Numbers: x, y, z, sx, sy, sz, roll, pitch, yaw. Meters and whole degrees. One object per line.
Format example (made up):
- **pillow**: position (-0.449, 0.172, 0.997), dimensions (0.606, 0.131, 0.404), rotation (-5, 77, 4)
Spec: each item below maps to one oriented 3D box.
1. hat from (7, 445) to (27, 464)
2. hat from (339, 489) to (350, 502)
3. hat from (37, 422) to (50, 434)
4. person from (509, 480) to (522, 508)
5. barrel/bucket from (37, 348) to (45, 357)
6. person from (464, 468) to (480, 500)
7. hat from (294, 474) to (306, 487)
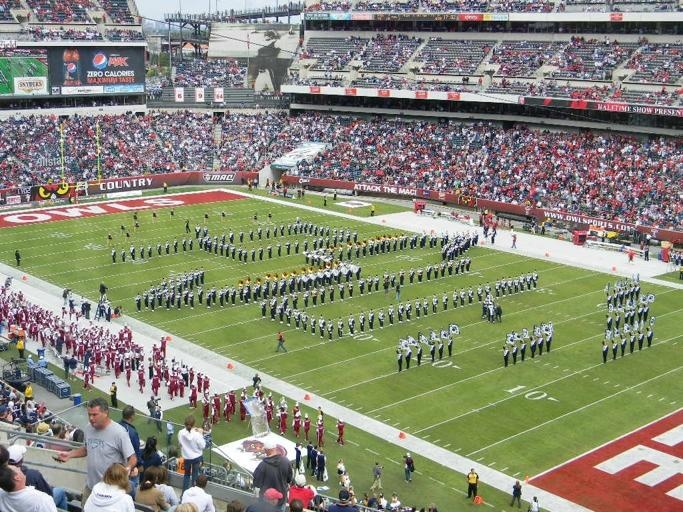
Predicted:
- **hat**: position (-10.072, 6.225, 41.988), dimensions (0.399, 0.546, 0.690), rotation (6, 11, 22)
- **hat**: position (0.152, 7.792, 43.673), dimensions (0.279, 0.408, 0.397), rotation (7, 40, 7)
- **hat**: position (-10.374, 6.119, 47.340), dimensions (0.405, 0.378, 1.004), rotation (0, 11, -10)
- **person**: position (6.866, 9.271, 52.675), dimensions (0.420, 1.020, 0.676), rotation (3, 10, 8)
- **barrel/bucket**: position (-13.281, 4.368, 60.406), dimensions (0.363, 0.433, 0.354), rotation (2, 8, 0)
- **person**: position (5.206, 8.941, 52.984), dimensions (0.453, 1.198, 1.027), rotation (3, 10, 8)
- **hat**: position (-1.280, 7.373, 44.222), dimensions (0.287, 0.310, 0.392), rotation (6, 10, 1)
